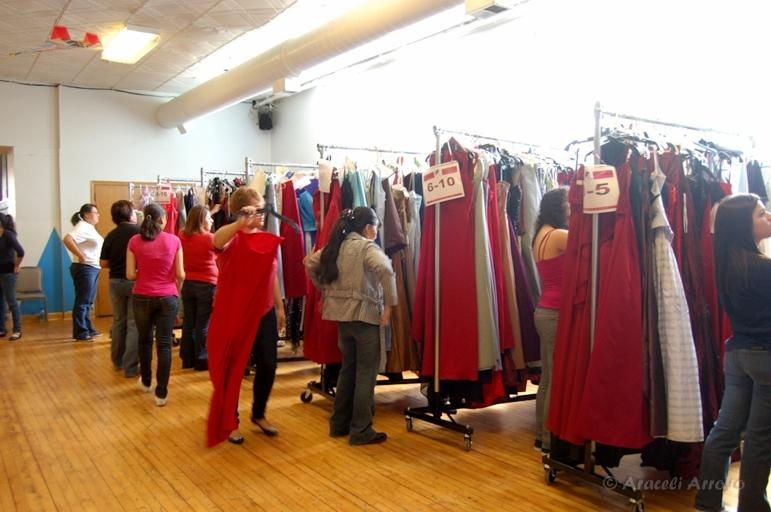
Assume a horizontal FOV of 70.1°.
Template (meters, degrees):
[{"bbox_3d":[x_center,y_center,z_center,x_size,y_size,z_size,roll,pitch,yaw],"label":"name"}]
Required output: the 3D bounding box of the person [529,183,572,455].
[{"bbox_3d":[1.285,0.535,4.293,0.271,2.113,0.528,1,8,10],"label":"person"}]

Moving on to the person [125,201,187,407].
[{"bbox_3d":[-2.314,0.480,5.648,0.647,2.016,0.531,6,11,41],"label":"person"}]

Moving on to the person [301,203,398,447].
[{"bbox_3d":[-0.283,0.596,4.689,0.767,2.023,0.403,0,8,6],"label":"person"}]

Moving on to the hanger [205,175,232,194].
[{"bbox_3d":[-2.280,-0.975,7.482,0.364,0.165,0.267,2,6,26],"label":"hanger"}]

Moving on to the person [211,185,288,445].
[{"bbox_3d":[-1.205,0.533,4.612,0.688,2.179,0.358,-3,8,-20],"label":"person"}]

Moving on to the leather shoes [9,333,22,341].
[{"bbox_3d":[-5.680,1.192,8.390,0.165,0.120,0.345,-6,10,-35],"label":"leather shoes"}]

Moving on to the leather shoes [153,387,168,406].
[{"bbox_3d":[-2.283,1.407,5.552,0.133,0.206,0.198,4,-5,-30],"label":"leather shoes"}]

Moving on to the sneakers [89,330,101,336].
[{"bbox_3d":[-4.500,1.174,8.470,0.158,0.063,0.053,-5,18,-40],"label":"sneakers"}]

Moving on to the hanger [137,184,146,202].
[{"bbox_3d":[-3.939,-1.009,8.802,0.106,0.398,0.273,5,3,-23],"label":"hanger"}]

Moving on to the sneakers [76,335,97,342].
[{"bbox_3d":[-4.506,1.224,8.252,0.227,0.093,0.085,0,0,-19],"label":"sneakers"}]
